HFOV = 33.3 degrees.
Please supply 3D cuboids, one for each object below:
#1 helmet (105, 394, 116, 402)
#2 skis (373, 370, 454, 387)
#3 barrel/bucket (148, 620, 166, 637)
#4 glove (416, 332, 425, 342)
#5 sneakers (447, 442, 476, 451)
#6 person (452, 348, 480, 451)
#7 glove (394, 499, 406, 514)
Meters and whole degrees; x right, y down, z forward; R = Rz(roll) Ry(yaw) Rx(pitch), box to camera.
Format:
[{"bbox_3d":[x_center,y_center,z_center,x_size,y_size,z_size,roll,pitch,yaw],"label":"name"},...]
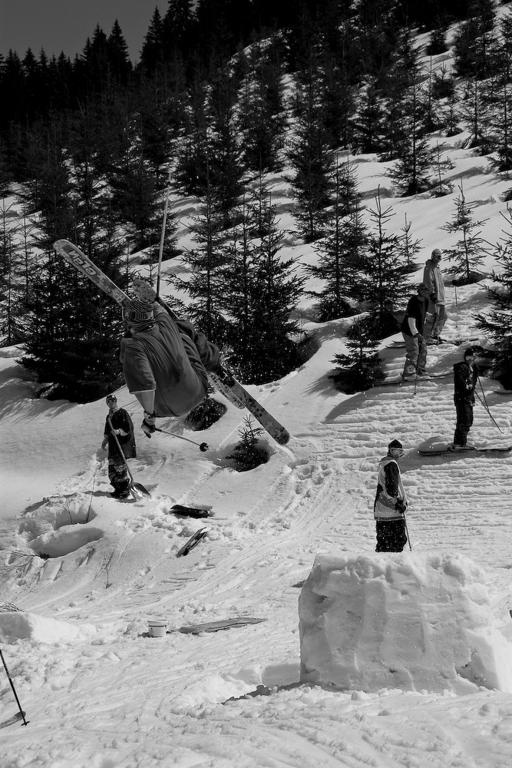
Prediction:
[{"bbox_3d":[-2.873,0.292,16.822,0.137,0.140,0.188,-6,-14,-2],"label":"helmet"},{"bbox_3d":[3.284,-0.096,17.611,1.421,0.143,0.251,-5,-17,21],"label":"skis"},{"bbox_3d":[-1.095,2.664,9.309,0.173,0.140,0.164,-1,-1,0],"label":"barrel/bucket"},{"bbox_3d":[3.334,-0.939,17.505,0.129,0.180,0.267,-14,-3,9],"label":"glove"},{"bbox_3d":[3.590,1.164,15.119,0.550,0.157,0.223,-3,-14,8],"label":"sneakers"},{"bbox_3d":[3.735,0.370,15.224,0.486,1.540,1.430,-5,23,6],"label":"person"},{"bbox_3d":[1.696,1.455,10.143,0.077,0.220,0.096,9,15,1],"label":"glove"}]
